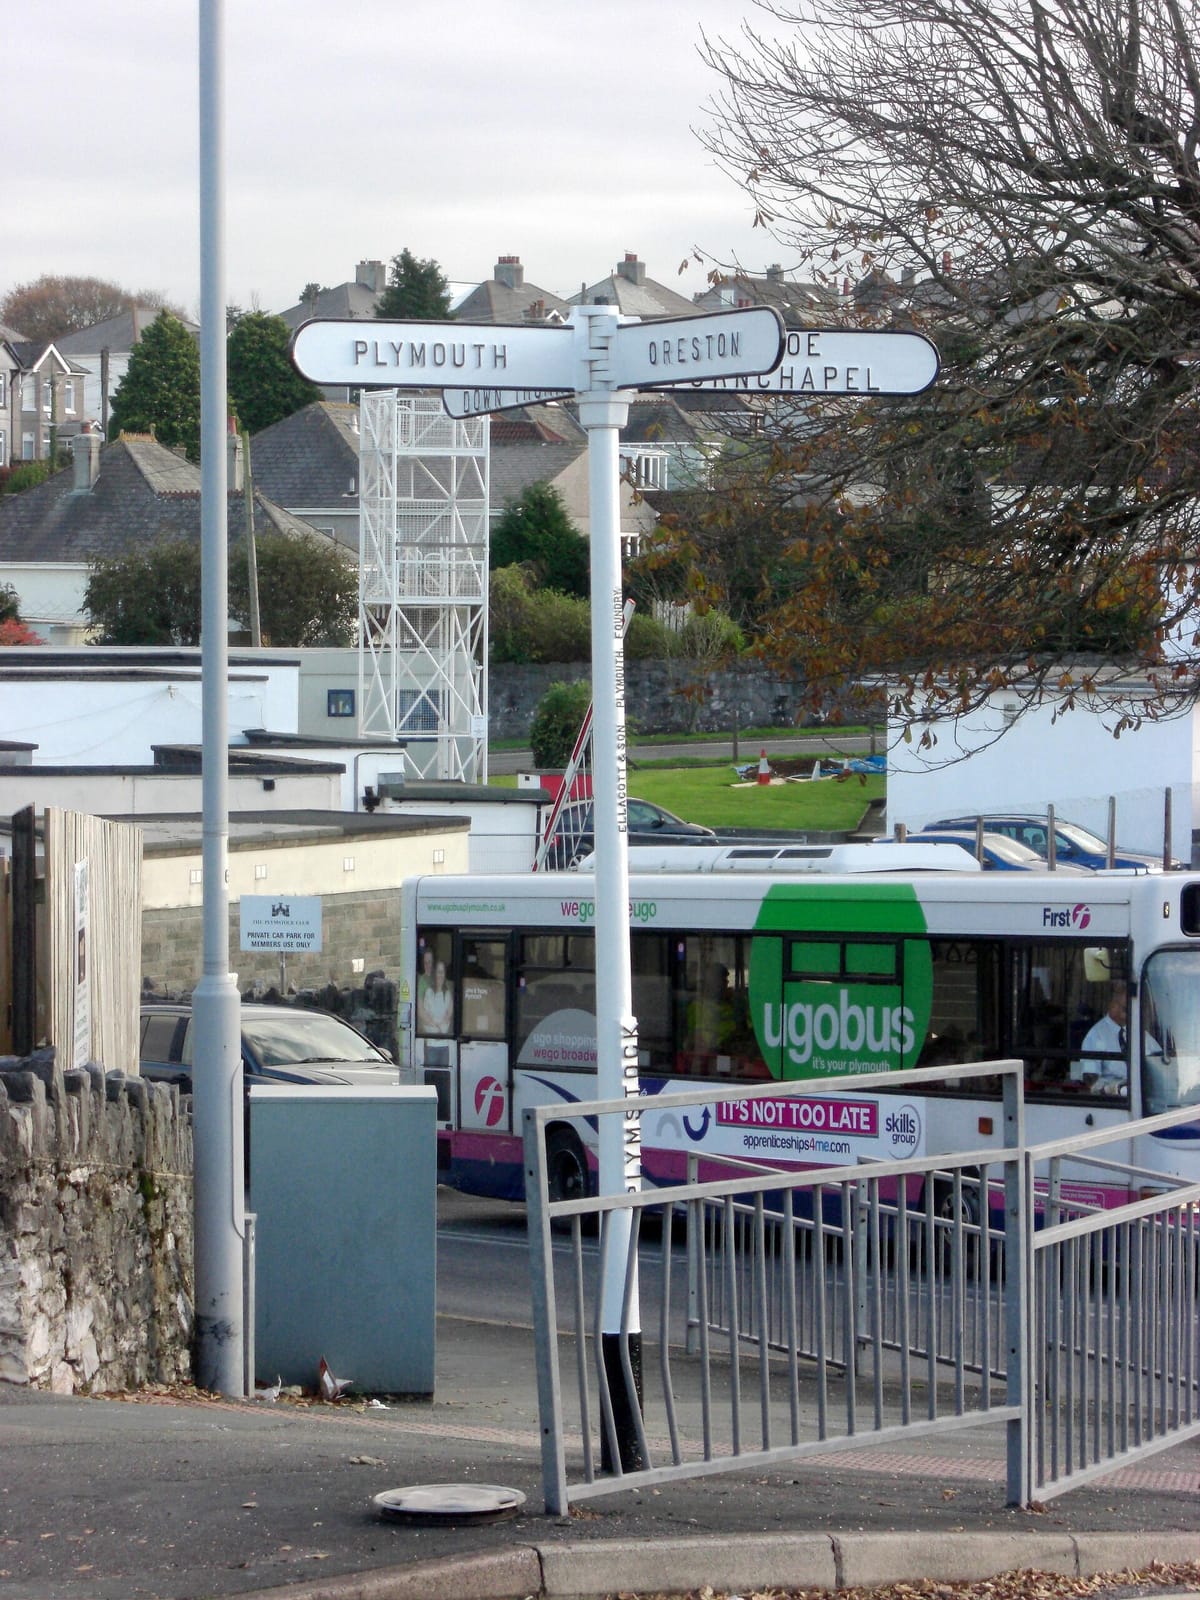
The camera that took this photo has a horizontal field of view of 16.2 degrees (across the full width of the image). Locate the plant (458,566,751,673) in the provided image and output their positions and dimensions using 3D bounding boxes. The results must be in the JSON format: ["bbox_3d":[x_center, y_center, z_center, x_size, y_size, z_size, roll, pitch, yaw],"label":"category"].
[{"bbox_3d":[-0.327,-3.431,83.227,3.799,2.331,4.327,3,-1,-18],"label":"plant"}]

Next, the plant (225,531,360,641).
[{"bbox_3d":[-5.872,-3.928,81.861,1.921,2.495,2.170,4,-18,-15],"label":"plant"}]

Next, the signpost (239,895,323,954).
[{"bbox_3d":[-2.317,0.878,30.348,0.572,0.381,0.470,-2,-1,3],"label":"signpost"}]

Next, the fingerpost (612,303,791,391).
[{"bbox_3d":[0.366,-1.637,15.431,0.767,0.186,0.222,-3,-2,36],"label":"fingerpost"}]
